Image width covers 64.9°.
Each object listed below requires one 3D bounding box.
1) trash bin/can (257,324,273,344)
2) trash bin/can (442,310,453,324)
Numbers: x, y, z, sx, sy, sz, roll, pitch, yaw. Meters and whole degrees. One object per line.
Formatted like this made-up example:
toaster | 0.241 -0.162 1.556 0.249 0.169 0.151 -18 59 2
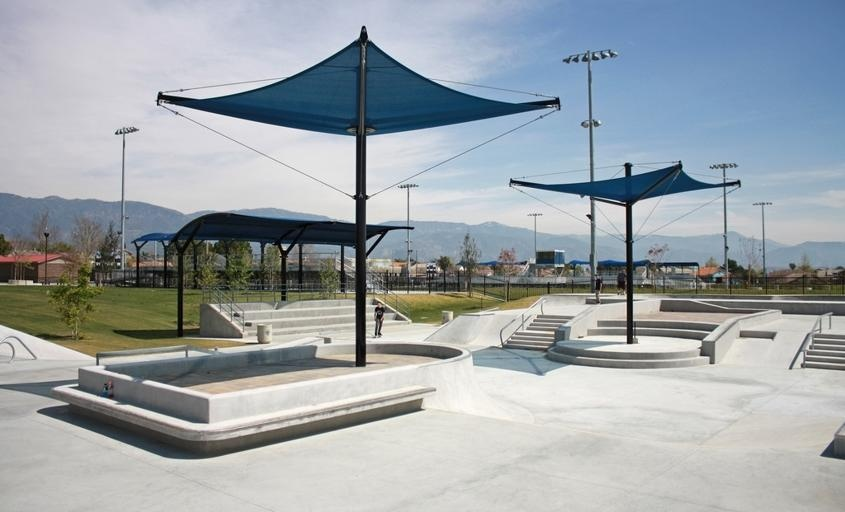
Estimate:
trash bin/can | -7.989 4.001 34.012 0.889 0.957 0.882 -1 -2 8
trash bin/can | 1.488 3.811 40.174 0.690 0.713 0.683 0 -1 1
